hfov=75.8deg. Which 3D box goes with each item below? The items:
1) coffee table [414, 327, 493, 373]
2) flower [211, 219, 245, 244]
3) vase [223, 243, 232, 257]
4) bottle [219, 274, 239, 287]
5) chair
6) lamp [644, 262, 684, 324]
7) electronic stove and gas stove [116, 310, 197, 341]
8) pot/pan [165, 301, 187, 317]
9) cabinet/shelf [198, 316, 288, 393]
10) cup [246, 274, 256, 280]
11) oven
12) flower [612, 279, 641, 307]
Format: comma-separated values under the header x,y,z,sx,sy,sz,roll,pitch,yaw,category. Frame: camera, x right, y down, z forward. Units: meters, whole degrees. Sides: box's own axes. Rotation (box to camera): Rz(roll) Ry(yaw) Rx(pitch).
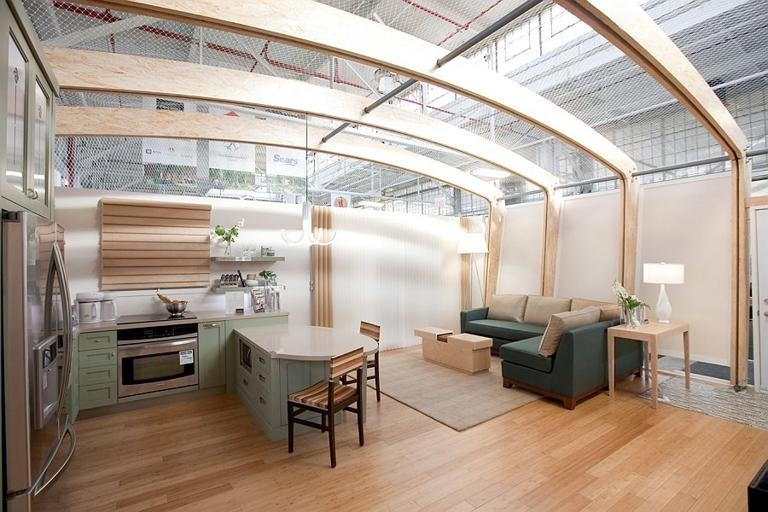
x,y,z,sx,sy,sz,roll,pitch,yaw,category
1.268,1.688,8.932,0.531,0.528,1.609,-3,2,-33,coffee table
-2.631,-0.385,8.303,0.418,0.298,0.574,-6,1,25,flower
-2.666,-0.120,8.401,0.110,0.210,0.159,-1,0,-2,vase
-2.575,0.399,8.227,0.287,0.207,0.402,-1,0,-16,bottle
-0.614,1.802,6.348,0.913,1.306,1.208,-1,0,30,chair
4.353,0.572,7.716,0.504,0.921,0.639,-1,0,23,lamp
-3.371,1.055,7.323,1.068,0.391,0.557,-1,0,-27,electronic stove and gas stove
-3.194,0.804,7.559,0.293,0.173,0.244,-6,-6,38,pot/pan
-2.067,1.447,7.069,1.335,0.945,0.478,1,-3,-27,cabinet/shelf
-2.260,0.349,8.403,0.123,0.079,0.122,2,-8,0,cup
-3.365,1.592,7.279,1.250,0.773,0.807,1,-4,-34,oven
3.700,0.602,7.592,0.343,0.388,0.549,-1,0,-6,flower
